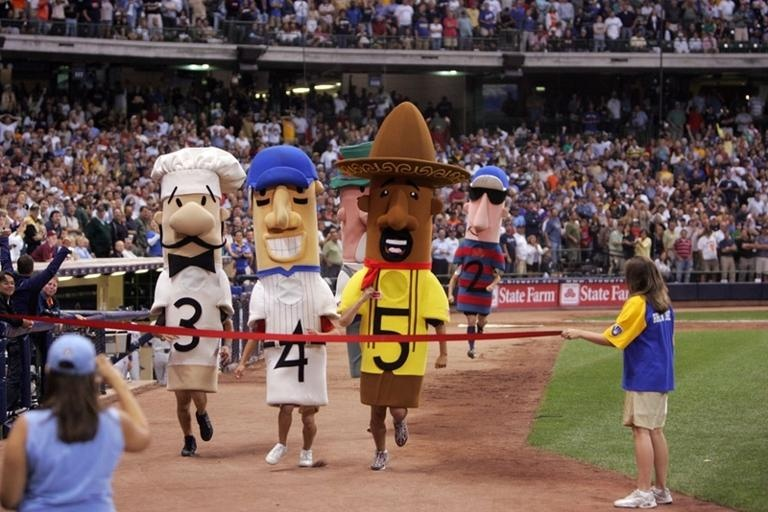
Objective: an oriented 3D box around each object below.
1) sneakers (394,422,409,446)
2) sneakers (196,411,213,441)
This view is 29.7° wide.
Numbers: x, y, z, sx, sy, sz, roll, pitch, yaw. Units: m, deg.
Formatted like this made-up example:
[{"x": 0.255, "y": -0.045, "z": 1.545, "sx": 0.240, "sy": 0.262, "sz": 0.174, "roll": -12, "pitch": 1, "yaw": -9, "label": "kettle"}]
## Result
[{"x": 0.341, "y": 3.660, "z": 29.646, "sx": 0.200, "sy": 0.597, "sz": 0.248, "roll": -1, "pitch": -6, "yaw": 3, "label": "sneakers"}, {"x": -3.715, "y": 3.504, "z": 29.955, "sx": 0.275, "sy": 0.645, "sz": 0.261, "roll": -14, "pitch": 12, "yaw": 3, "label": "sneakers"}]
